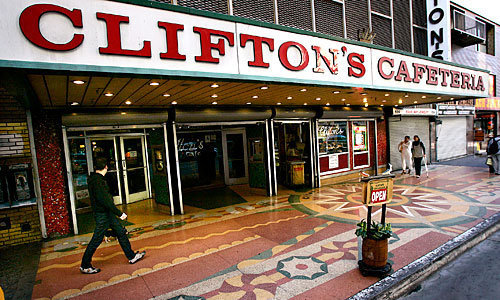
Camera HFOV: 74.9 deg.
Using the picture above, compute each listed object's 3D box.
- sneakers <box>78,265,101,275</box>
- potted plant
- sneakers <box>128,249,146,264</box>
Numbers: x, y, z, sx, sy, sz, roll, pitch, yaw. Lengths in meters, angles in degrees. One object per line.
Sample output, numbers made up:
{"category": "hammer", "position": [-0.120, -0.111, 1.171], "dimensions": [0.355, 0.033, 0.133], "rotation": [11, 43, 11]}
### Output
{"category": "sneakers", "position": [-4.679, 3.536, 9.632], "dimensions": [0.621, 0.212, 0.205], "rotation": [0, -2, -6]}
{"category": "potted plant", "position": [3.450, 2.625, 9.205], "dimensions": [0.887, 1.232, 0.549], "rotation": [1, 14, 20]}
{"category": "sneakers", "position": [-3.441, 3.274, 9.962], "dimensions": [0.213, 0.213, 0.573], "rotation": [-4, -3, 32]}
